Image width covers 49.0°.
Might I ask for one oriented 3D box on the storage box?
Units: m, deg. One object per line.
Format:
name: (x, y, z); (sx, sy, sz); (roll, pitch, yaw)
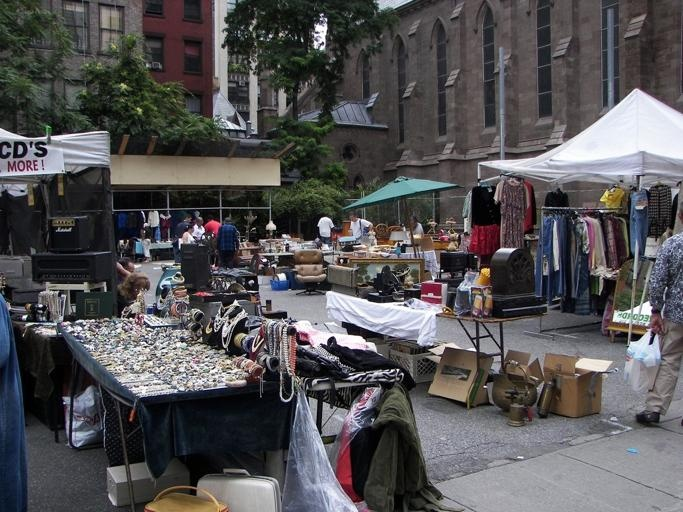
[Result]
storage box: (2.272, 1.494, 9.098); (1.472, 0.705, 1.858); (3, 3, -40)

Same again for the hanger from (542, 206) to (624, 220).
hanger: (4.169, -0.791, 12.988); (1.716, 0.217, 0.665); (-1, 11, -20)

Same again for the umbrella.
umbrella: (1.501, -1.174, 16.512); (1.892, 1.312, 1.770); (-11, 0, 41)

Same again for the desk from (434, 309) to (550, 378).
desk: (2.024, 1.179, 10.122); (0.859, 0.848, 1.878); (-2, 3, -39)

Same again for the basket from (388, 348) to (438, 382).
basket: (0.910, 1.370, 9.959); (0.461, 0.308, 0.467); (-1, 3, -29)

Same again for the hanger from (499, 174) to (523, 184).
hanger: (2.928, -1.322, 13.022); (0.212, 0.109, 0.289); (2, 3, -23)

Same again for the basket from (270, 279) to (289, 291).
basket: (-1.562, 0.668, 18.668); (0.442, 0.238, 0.327); (2, 11, -2)

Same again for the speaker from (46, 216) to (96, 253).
speaker: (-3.574, -0.295, 9.739); (0.480, 0.465, 0.276); (-1, 11, -19)

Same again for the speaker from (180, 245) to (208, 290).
speaker: (-1.691, 0.109, 8.578); (0.313, 0.574, 0.456); (-2, 4, -43)

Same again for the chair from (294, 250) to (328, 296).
chair: (-0.766, 0.357, 17.702); (0.854, 1.080, 0.905); (0, 5, -1)
